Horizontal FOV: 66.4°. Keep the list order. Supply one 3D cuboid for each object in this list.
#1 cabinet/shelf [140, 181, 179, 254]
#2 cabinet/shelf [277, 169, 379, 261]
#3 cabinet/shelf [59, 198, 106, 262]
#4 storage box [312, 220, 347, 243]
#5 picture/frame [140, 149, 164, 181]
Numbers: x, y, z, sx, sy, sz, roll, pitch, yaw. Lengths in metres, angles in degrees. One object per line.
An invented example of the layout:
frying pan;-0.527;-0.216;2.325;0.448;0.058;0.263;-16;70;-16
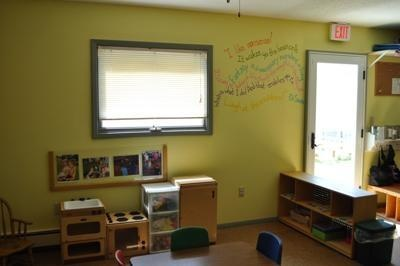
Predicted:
cabinet/shelf;-0.443;1.392;4.788;0.713;0.903;0.695;11;-26;-35
cabinet/shelf;1.947;1.322;4.843;0.362;0.658;1.175;0;4;-21
cabinet/shelf;-1.681;1.372;4.445;0.622;0.780;0.433;-5;7;-25
storage box;2.055;1.563;4.941;0.329;0.199;0.440;-4;-3;-12
picture/frame;-0.783;0.487;4.913;0.535;0.590;0.084;0;1;-16
